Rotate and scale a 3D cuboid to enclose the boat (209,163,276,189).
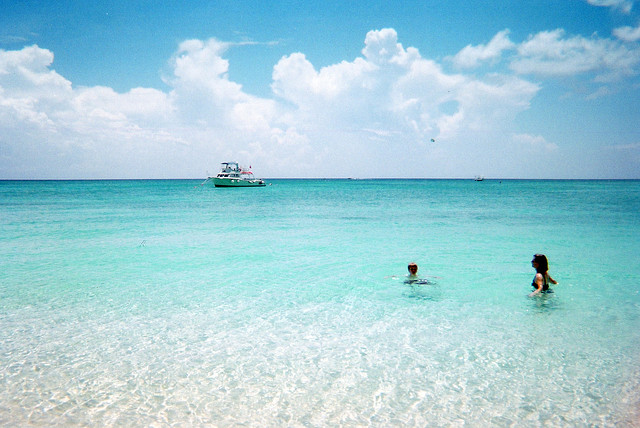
[{"bbox_3d":[-20.452,-9.911,122.270,6.353,5.074,20.123,0,2,44],"label":"boat"}]
